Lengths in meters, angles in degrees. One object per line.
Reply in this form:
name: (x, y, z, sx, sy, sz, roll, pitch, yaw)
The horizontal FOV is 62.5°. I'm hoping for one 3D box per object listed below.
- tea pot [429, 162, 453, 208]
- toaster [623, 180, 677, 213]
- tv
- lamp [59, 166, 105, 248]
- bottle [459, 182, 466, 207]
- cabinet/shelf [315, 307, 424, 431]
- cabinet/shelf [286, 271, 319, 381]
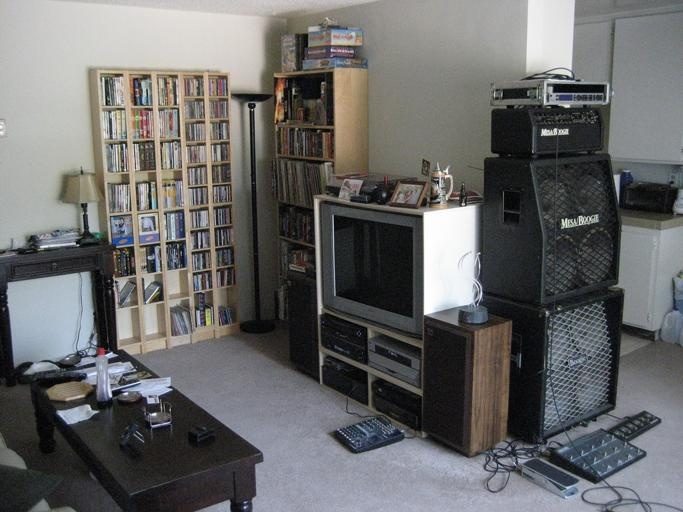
tea pot: (0.685, -0.490, 3.812, 0.131, 0.254, 0.360, 1, 15, 18)
toaster: (2.876, -0.544, 5.252, 0.277, 0.259, 0.415, -7, 14, -34)
tv: (0.243, 0.073, 3.992, 0.311, 0.768, 0.881, -8, 13, -39)
lamp: (-2.203, -0.429, 4.766, 0.324, 0.609, 0.360, -11, 16, -26)
bottle: (0.827, -0.419, 3.800, 0.054, 0.139, 0.162, -1, 15, 13)
cabinet/shelf: (0.282, 0.802, 4.233, 0.363, 0.667, 1.115, -10, 15, -39)
cabinet/shelf: (-0.310, 0.545, 4.634, 0.175, 0.786, 0.388, -13, 17, -33)
